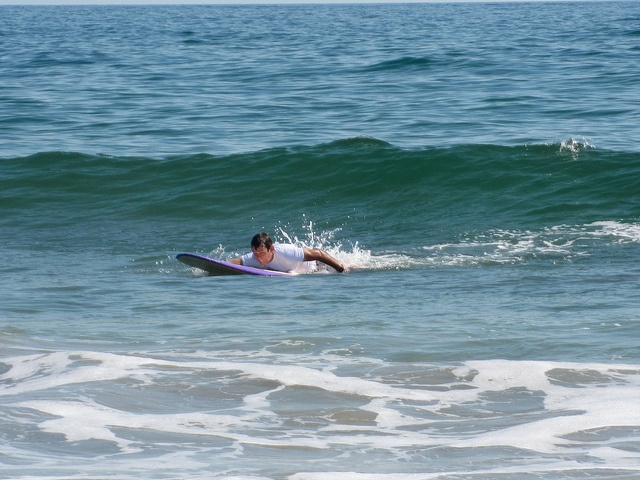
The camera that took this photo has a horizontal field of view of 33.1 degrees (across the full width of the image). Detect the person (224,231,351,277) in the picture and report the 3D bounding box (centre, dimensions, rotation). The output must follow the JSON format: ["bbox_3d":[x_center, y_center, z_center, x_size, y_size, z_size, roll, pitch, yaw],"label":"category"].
[{"bbox_3d":[-0.561,0.303,19.511,1.715,0.456,1.157,-5,12,31],"label":"person"}]

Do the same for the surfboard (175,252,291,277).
[{"bbox_3d":[-1.602,0.433,19.543,2.710,0.139,0.525,4,-13,-3],"label":"surfboard"}]

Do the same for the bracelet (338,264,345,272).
[{"bbox_3d":[0.376,0.532,19.546,0.152,0.103,0.045,-2,2,4],"label":"bracelet"}]
